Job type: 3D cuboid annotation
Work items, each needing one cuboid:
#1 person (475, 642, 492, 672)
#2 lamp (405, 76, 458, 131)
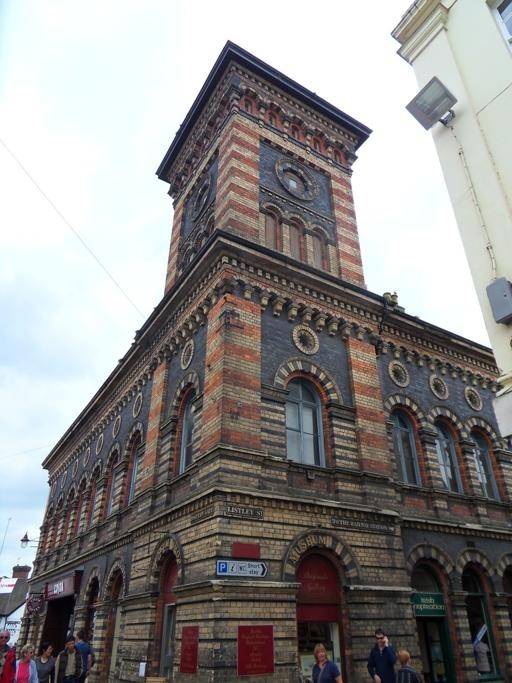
[{"bbox_3d":[5.856,8.258,12.134,0.242,0.682,0.794,-23,-38,34],"label":"person"},{"bbox_3d":[3.440,-4.634,9.185,0.686,0.473,0.769,24,-39,-34],"label":"lamp"}]
